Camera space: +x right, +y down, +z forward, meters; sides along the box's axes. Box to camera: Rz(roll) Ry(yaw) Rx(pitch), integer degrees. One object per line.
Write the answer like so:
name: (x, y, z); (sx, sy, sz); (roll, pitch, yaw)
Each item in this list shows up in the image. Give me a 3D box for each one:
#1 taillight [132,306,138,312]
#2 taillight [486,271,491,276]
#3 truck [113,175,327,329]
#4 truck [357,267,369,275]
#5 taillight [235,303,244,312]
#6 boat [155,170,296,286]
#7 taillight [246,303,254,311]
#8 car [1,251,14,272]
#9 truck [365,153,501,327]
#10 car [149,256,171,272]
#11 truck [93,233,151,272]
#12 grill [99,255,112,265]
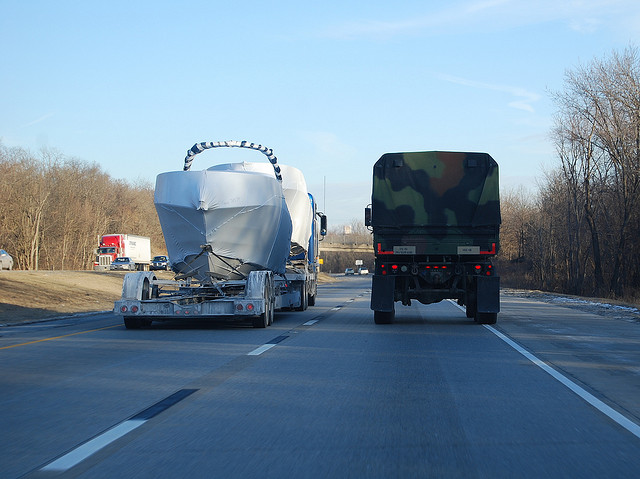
taillight: (-5.121, 1.914, 16.306); (0.125, 0.133, 0.037); (15, -6, -9)
taillight: (5.141, 1.025, 17.992); (0.122, 0.115, 0.027); (0, -3, -17)
truck: (-2.658, 0.499, 22.211); (4.334, 4.790, 12.803); (-1, -3, 12)
truck: (11.572, 8.435, 158.557); (2.671, 2.207, 6.037); (0, 0, 3)
taillight: (-2.255, 1.898, 16.415); (0.203, 0.217, 0.068); (1, -4, -9)
boat: (-2.514, -0.238, 19.344); (2.442, 1.998, 5.325); (-1, -8, 9)
taillight: (-1.949, 1.872, 16.437); (0.208, 0.207, 0.043); (0, -3, -11)
car: (-29.185, 1.941, 54.890); (0.885, 1.697, 3.684); (1, -3, -28)
truck: (4.016, -0.305, 20.894); (3.510, 3.960, 6.159); (-1, -1, 5)
car: (-19.290, 2.965, 70.627); (2.496, 2.096, 4.215); (0, -11, -2)
truck: (-26.506, 2.041, 79.995); (3.355, 5.000, 11.303); (-4, -4, 6)
grill: (-27.274, 2.626, 74.997); (1.144, 1.061, 0.587); (1, -10, -6)
